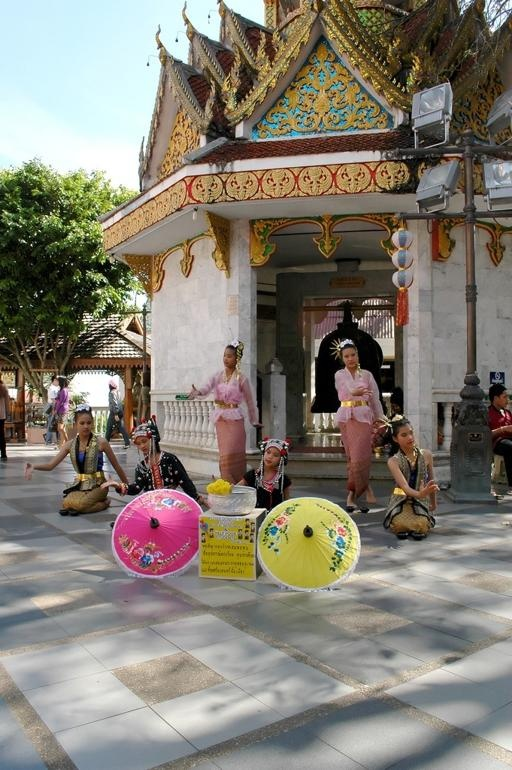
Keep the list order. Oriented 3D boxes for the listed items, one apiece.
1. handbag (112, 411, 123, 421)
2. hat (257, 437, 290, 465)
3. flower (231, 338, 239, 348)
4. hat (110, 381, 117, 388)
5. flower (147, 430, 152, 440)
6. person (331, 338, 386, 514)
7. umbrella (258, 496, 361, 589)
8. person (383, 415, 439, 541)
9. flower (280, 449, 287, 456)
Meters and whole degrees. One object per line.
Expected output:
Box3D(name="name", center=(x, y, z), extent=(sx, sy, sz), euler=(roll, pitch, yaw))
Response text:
Box3D(name="handbag", center=(-3.255, 0.679, 15.258), extent=(0.197, 0.335, 0.263), euler=(-5, 5, -10))
Box3D(name="hat", center=(0.146, 0.510, 5.117), extent=(0.194, 0.194, 0.257), euler=(3, -7, -1))
Box3D(name="flower", center=(-0.239, -0.477, 7.318), extent=(0.113, 0.102, 0.029), euler=(4, -7, -8))
Box3D(name="hat", center=(-3.332, -0.004, 15.158), extent=(0.151, 0.172, 0.578), euler=(0, -1, -9))
Box3D(name="flower", center=(-0.927, 0.428, 5.654), extent=(0.047, 0.059, 0.056), euler=(-1, -6, 5))
Box3D(name="person", center=(1.150, 0.429, 7.266), extent=(0.514, 1.865, 0.661), euler=(-1, -2, 9))
Box3D(name="umbrella", center=(0.326, 1.004, 4.144), extent=(0.622, 0.501, 0.353), euler=(0, -2, 2))
Box3D(name="person", center=(1.340, 0.814, 5.809), extent=(0.483, 1.029, 0.943), euler=(-1, -2, 15))
Box3D(name="flower", center=(0.199, 0.522, 5.030), extent=(0.053, 0.048, 0.013), euler=(1, 10, -30))
